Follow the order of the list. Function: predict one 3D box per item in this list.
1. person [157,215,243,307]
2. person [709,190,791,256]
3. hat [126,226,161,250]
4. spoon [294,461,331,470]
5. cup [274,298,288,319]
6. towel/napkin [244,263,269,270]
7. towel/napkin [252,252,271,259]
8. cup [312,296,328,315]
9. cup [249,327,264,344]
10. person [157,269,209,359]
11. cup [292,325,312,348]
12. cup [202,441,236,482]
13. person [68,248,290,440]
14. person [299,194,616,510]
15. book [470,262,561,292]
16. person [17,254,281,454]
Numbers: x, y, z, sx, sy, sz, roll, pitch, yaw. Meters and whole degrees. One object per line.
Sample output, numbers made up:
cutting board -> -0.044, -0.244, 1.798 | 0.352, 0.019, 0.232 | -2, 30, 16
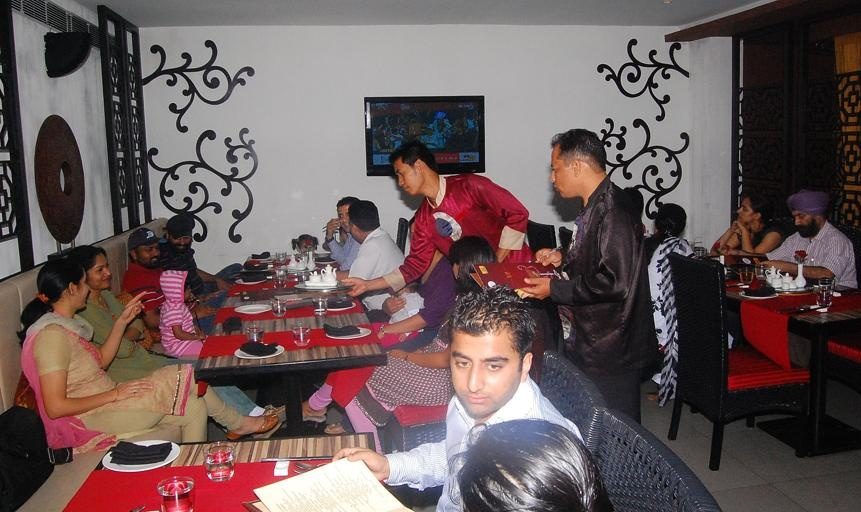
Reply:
person -> -2.443, 0.106, 5.806 | 0.732, 0.909, 0.654 | 1, 7, -22
person -> 3.210, -0.248, 5.675 | 0.792, 0.725, 0.591 | 1, 14, -3
hat -> -2.694, -0.126, 5.157 | 0.278, 0.166, 0.209 | -14, 6, 38
spoon -> -0.556, 0.988, 2.615 | 0.152, 0.024, 0.022 | -6, 37, -22
cup -> -1.146, 0.397, 4.206 | 0.114, 0.118, 0.094 | -9, 18, -33
towel/napkin -> -1.779, 0.113, 5.706 | 0.111, 0.071, 0.204 | 0, -5, 16
towel/napkin -> -1.925, 0.001, 6.321 | 0.198, 0.076, 0.116 | -3, 10, -23
cup -> -0.856, 0.392, 4.277 | 0.118, 0.110, 0.111 | 2, -2, 0
cup -> -1.170, 0.538, 3.747 | 0.093, 0.098, 0.095 | 1, -2, 0
person -> -2.109, 0.512, 4.690 | 0.456, 0.771, 0.474 | -2, 23, -22
cup -> -0.859, 0.546, 3.725 | 0.124, 0.112, 0.119 | -1, 6, 0
cup -> -0.996, 0.967, 2.627 | 0.136, 0.158, 0.146 | -1, -1, 0
person -> -1.923, 0.687, 4.179 | 1.913, 1.191, 0.734 | 10, 16, 10
person -> 0.022, 0.413, 3.028 | 0.997, 1.628, 1.192 | -10, 20, -28
book -> 0.473, 0.114, 3.479 | 0.322, 0.077, 0.243 | -3, 21, -14
person -> -2.036, 0.718, 3.758 | 1.226, 1.421, 0.637 | -8, 15, -27
